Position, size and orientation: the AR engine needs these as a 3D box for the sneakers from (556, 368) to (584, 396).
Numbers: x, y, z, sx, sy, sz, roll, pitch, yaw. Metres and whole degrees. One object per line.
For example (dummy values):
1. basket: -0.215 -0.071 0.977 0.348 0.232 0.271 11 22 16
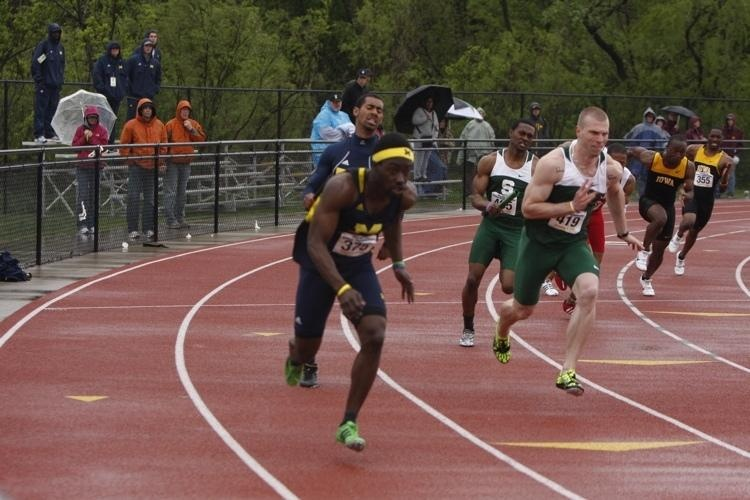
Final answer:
1. sneakers: 1.886 1.268 9.166 0.239 0.259 0.277 5 14 14

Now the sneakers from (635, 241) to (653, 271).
1. sneakers: 4.138 0.080 14.587 0.196 0.246 0.589 25 31 -4

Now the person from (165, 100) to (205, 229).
1. person: -3.595 -1.627 18.014 0.679 2.321 1.584 -1 13 -10

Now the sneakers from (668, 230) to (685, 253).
1. sneakers: 5.399 -0.173 17.009 0.144 0.424 0.178 28 -28 -20

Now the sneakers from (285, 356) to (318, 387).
1. sneakers: -0.735 1.248 9.675 0.183 0.239 0.531 0 -3 -14

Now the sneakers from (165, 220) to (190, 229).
1. sneakers: -3.688 -0.510 17.902 0.366 0.139 0.096 -2 3 -2

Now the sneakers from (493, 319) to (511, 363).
1. sneakers: 1.395 0.969 10.393 0.186 0.487 0.213 -3 14 1

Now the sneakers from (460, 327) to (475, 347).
1. sneakers: 1.130 1.032 11.494 0.234 0.253 0.587 1 -1 5

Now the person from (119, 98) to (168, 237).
1. person: -4.138 -1.455 17.129 0.793 2.468 1.495 -2 14 -14

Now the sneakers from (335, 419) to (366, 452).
1. sneakers: -0.204 1.557 8.075 0.167 0.209 0.236 -5 15 -27
